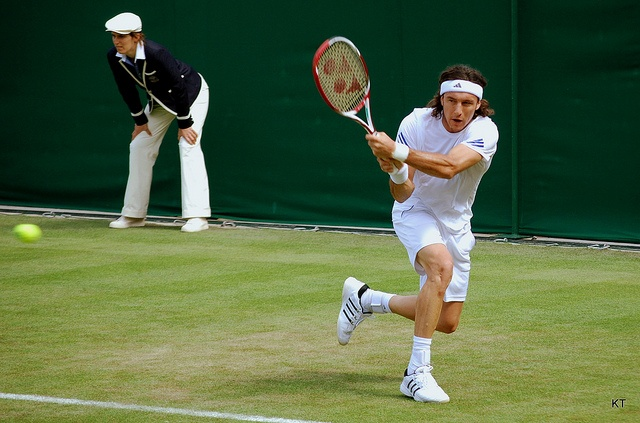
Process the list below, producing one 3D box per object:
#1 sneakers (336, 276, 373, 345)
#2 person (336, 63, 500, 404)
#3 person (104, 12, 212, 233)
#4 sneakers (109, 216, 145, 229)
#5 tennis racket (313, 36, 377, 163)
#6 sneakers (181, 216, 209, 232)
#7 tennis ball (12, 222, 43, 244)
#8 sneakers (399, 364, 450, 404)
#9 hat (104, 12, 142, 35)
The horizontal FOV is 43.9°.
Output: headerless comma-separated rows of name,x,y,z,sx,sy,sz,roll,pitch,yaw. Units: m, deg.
sneakers,0.218,0.663,5.549,0.275,0.486,0.178,10,1,20
person,0.633,0.068,5.111,0.916,1.981,0.988,3,13,11
person,-1.876,-0.990,9.176,1.115,2.506,0.734,-2,13,-12
sneakers,-2.334,0.130,9.602,0.434,0.158,0.154,1,8,-34
tennis racket,0.234,-0.830,5.428,0.044,0.799,0.326,-16,32,43
sneakers,-1.491,0.166,9.482,0.131,0.118,0.308,0,-4,27
tennis ball,-2.647,0.165,7.163,0.309,0.158,0.284,2,2,0
sneakers,0.618,1.052,4.863,0.154,0.140,0.337,-3,6,-44
hat,-2.077,-2.025,8.635,0.285,0.113,0.336,12,13,28
